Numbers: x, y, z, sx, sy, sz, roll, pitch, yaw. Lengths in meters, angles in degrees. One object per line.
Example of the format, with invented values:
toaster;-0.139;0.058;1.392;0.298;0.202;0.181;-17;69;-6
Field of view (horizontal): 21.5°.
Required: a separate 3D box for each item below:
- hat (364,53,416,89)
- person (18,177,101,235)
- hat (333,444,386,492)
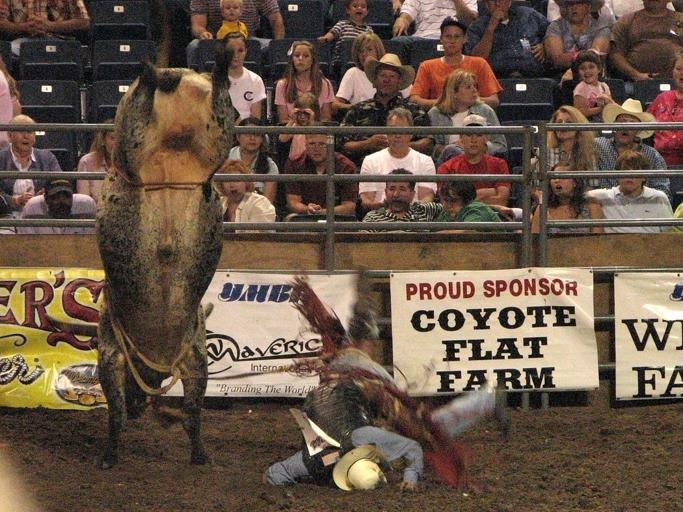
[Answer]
hat;0.582;-2.229;21.222;0.539;0.231;0.626;4;-13;8
person;-3.001;-0.543;19.201;0.895;0.560;0.468;2;-2;-15
hat;0.159;2.019;17.244;0.595;0.482;0.171;4;14;-33
